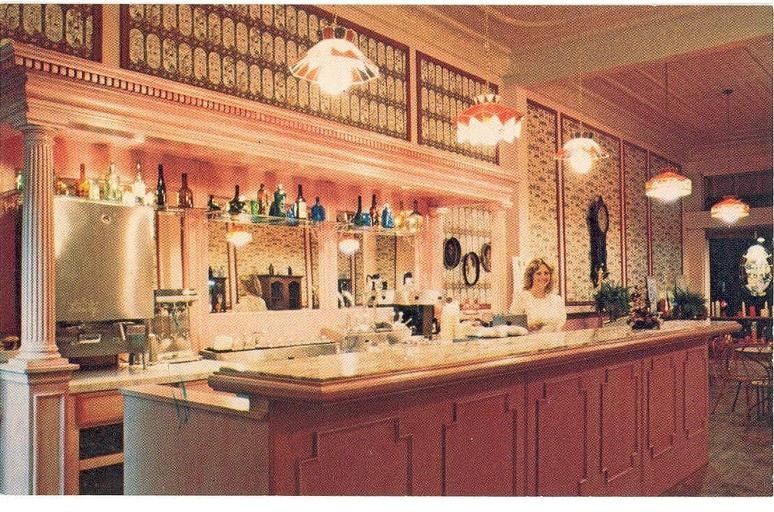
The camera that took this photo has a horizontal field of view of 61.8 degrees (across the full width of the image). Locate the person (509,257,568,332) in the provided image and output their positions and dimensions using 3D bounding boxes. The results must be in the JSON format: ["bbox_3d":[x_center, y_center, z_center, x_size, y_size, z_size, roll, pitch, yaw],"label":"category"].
[{"bbox_3d":[1.835,0.457,7.835,0.628,0.863,0.286,4,6,11],"label":"person"}]

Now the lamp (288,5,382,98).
[{"bbox_3d":[-0.471,-1.773,6.203,0.811,0.979,0.838,1,-1,-1],"label":"lamp"}]

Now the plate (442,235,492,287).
[{"bbox_3d":[1.272,0.081,10.578,0.094,0.549,0.858,-4,-6,43],"label":"plate"}]

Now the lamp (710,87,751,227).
[{"bbox_3d":[6.729,-1.923,12.718,1.059,2.631,1.087,1,15,34],"label":"lamp"}]

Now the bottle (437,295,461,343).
[{"bbox_3d":[0.689,0.676,7.062,0.219,0.408,0.694,3,5,7],"label":"bottle"}]

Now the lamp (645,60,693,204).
[{"bbox_3d":[3.946,-1.831,9.702,0.756,1.858,0.776,-12,-7,41],"label":"lamp"}]
